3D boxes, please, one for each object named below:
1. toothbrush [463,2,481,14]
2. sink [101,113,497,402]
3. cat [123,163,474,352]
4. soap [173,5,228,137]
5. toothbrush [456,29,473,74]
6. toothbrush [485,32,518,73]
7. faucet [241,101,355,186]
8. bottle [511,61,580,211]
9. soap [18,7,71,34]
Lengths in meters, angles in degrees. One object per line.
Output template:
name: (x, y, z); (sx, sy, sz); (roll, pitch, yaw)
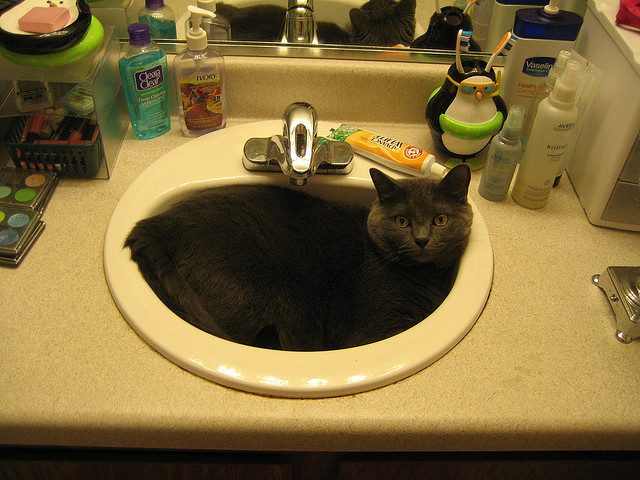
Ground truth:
toothbrush: (0.322, -0.491, 1.199); (0.034, 0.024, 0.004); (0, 43, -1)
sink: (-0.071, 0.035, 1.030); (0.702, 0.157, 0.549); (27, 49, 24)
cat: (-0.029, 0.051, 1.121); (0.560, 0.318, 0.329); (2, 33, 2)
soap: (-0.239, -0.337, 1.155); (0.072, 0.247, 0.121); (32, 51, 30)
toothbrush: (0.297, -0.392, 1.173); (0.029, 0.088, 0.020); (-2, 17, -8)
toothbrush: (0.344, -0.362, 1.092); (0.028, 0.123, 0.021); (26, 59, 9)
faucet: (-0.041, -0.194, 1.119); (0.222, 0.083, 0.252); (5, 45, 0)
bottle: (0.414, -0.180, 1.025); (0.070, 0.266, 0.085); (19, 46, 19)
soap: (-0.483, -0.389, 0.997); (0.072, 0.021, 0.064); (4, 43, 3)
